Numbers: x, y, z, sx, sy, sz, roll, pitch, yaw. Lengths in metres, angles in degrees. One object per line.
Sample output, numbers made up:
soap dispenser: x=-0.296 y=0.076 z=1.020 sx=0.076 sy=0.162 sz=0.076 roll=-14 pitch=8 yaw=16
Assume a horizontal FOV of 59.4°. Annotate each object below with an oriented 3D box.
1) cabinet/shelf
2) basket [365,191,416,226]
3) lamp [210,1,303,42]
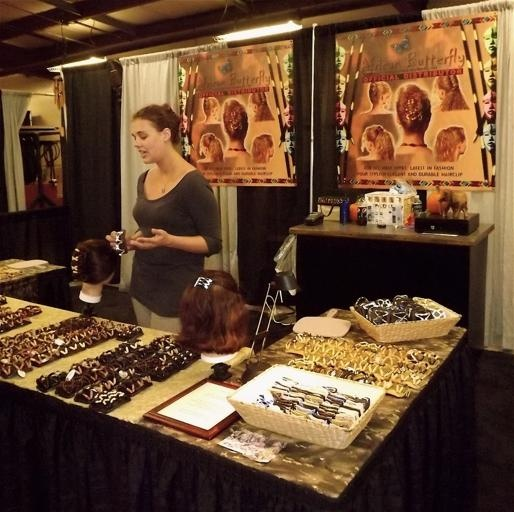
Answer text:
cabinet/shelf: x=0.933 y=0.136 z=3.061 sx=1.064 sy=0.862 sz=0.689 roll=6 pitch=17 yaw=27
basket: x=1.113 y=-0.390 z=3.743 sx=0.352 sy=0.213 sz=0.336 roll=4 pitch=14 yaw=22
lamp: x=0.032 y=-2.940 z=5.608 sx=1.762 sy=0.111 sz=0.304 roll=3 pitch=13 yaw=28
